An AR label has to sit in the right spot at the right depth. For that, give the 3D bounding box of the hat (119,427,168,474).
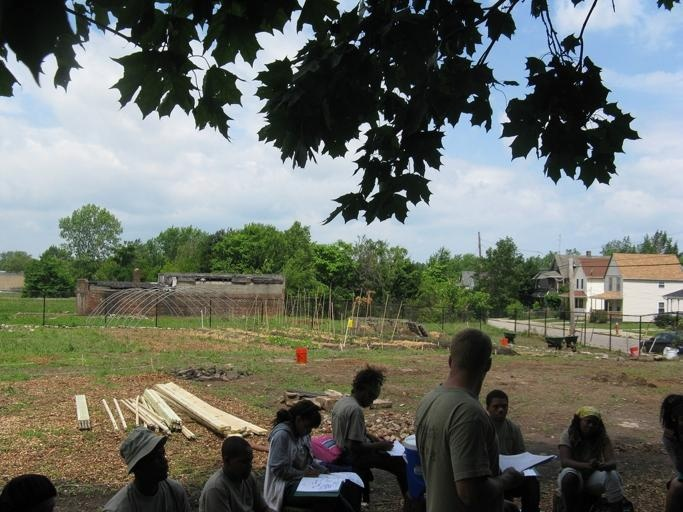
[{"bbox_3d":[-1.814,1.827,6.097,0.399,0.220,0.421,-39,-9,-35],"label":"hat"}]

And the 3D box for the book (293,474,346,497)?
[{"bbox_3d":[-0.240,2.588,7.520,0.514,0.182,0.542,4,-4,3],"label":"book"}]
